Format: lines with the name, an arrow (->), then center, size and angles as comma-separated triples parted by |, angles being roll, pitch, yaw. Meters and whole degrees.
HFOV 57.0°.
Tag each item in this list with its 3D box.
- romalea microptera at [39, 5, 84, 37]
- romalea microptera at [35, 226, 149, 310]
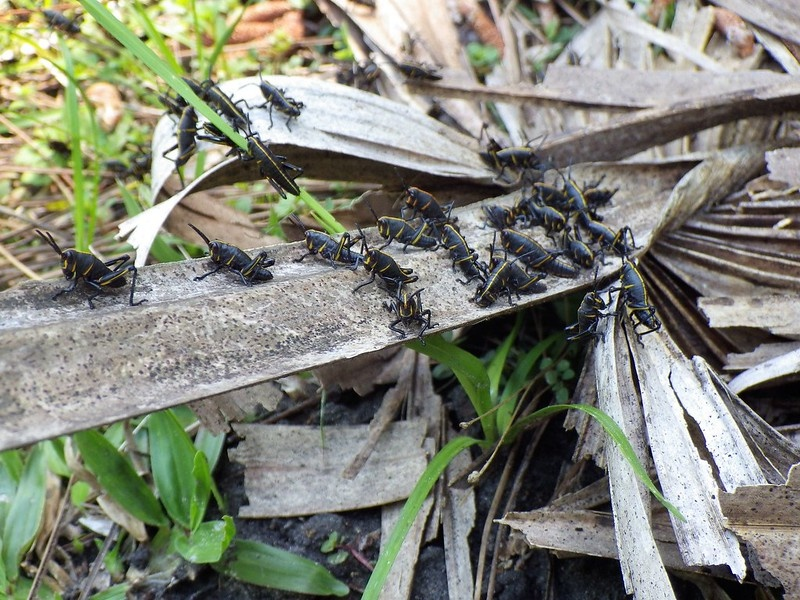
romalea microptera -> -2.692, -2.213, 5.853 | 0.143, 0.278, 0.267 | -34, 6, 38
romalea microptera -> -1.624, -0.182, 3.888 | 0.422, 0.313, 0.304 | 9, 20, -22
